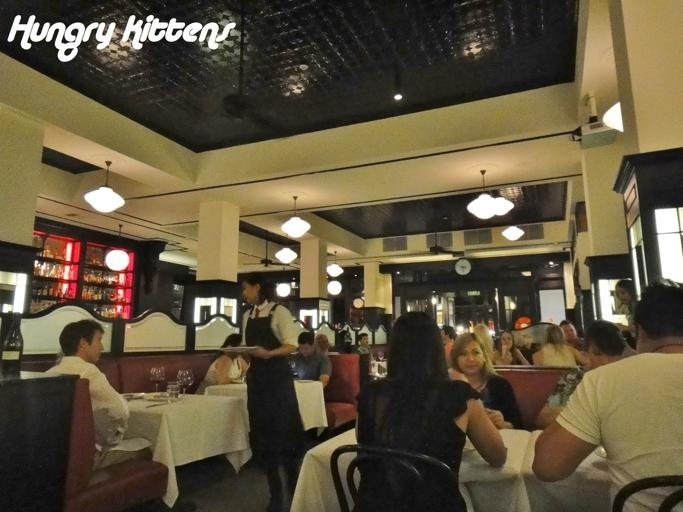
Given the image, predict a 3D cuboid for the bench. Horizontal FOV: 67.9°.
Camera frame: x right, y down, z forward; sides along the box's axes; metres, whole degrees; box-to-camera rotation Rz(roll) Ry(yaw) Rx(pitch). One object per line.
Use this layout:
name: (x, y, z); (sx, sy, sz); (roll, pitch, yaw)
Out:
bench: (1.889, 1.462, 4.769); (0.719, 0.696, 0.392); (-3, 12, 8)

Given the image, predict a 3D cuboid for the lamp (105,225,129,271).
lamp: (-4.926, -0.136, 11.197); (0.440, 0.961, 1.147); (5, -12, -24)

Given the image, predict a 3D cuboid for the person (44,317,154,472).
person: (-2.073, 1.148, 4.278); (0.826, 1.258, 0.763); (-3, 1, 6)

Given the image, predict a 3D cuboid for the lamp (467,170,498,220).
lamp: (2.159, -1.011, 7.734); (0.299, 0.575, 0.306); (0, 11, 26)

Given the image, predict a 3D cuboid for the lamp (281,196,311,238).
lamp: (-0.826, -0.676, 9.426); (0.631, 0.944, 0.658); (-2, -6, -9)

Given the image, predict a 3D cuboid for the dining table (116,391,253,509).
dining table: (-1.346, 1.752, 4.542); (0.922, 0.541, 0.973); (-11, -24, 28)

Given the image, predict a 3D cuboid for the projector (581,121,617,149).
projector: (2.785, -1.339, 5.525); (0.312, 0.203, 0.323); (-7, -13, 31)

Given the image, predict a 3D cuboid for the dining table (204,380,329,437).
dining table: (-0.654, 1.765, 5.763); (0.954, 0.505, 0.983); (-9, -31, 17)
